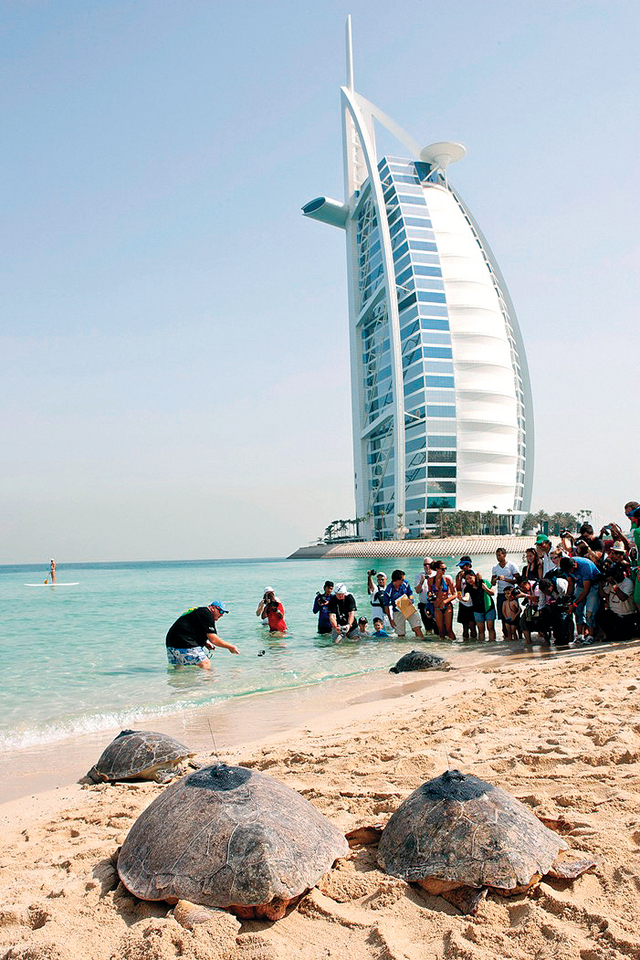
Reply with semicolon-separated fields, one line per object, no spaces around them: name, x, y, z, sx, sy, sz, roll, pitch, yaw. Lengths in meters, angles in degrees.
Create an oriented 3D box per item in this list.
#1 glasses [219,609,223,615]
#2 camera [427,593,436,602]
glasses;-1.251;1.652;9.866;0.072;0.064;0.119;0;-3;-16
camera;1.827;1.927;12.964;0.094;0.123;0.045;-6;-9;41
